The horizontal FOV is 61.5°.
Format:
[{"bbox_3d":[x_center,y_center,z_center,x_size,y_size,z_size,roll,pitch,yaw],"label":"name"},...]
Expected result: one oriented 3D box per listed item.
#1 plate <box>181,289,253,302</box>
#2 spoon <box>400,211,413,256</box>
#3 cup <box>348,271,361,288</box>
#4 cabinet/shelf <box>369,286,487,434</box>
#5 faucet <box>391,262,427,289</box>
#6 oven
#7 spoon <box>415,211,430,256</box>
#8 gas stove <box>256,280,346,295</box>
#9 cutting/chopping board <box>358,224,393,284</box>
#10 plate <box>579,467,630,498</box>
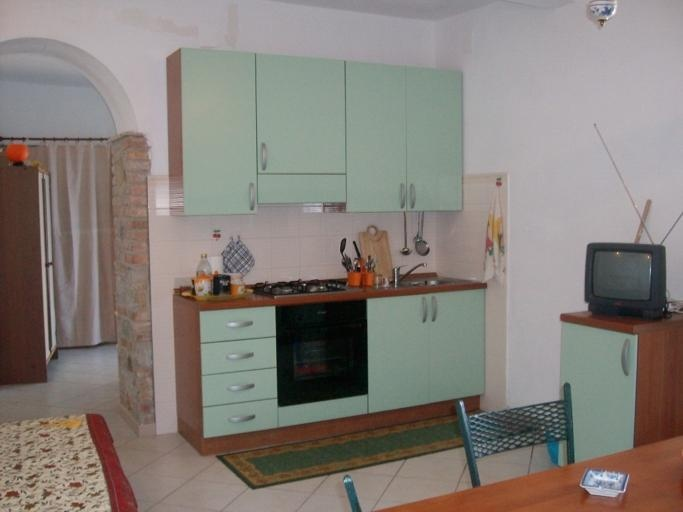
[{"bbox_3d":[-0.966,0.281,4.157,0.590,0.047,0.333,-1,7,3],"label":"plate"},{"bbox_3d":[0.554,-0.190,5.059,0.088,0.385,0.107,1,7,16],"label":"spoon"},{"bbox_3d":[0.092,0.192,4.574,0.113,0.110,0.114,1,4,0],"label":"cup"},{"bbox_3d":[0.602,0.770,4.376,1.055,0.926,0.402,-2,3,-22],"label":"cabinet/shelf"},{"bbox_3d":[0.560,0.152,4.834,0.282,0.159,0.666,0,7,6],"label":"faucet"},{"bbox_3d":[-0.165,0.711,4.358,0.669,0.747,0.500,-4,-5,-5],"label":"oven"},{"bbox_3d":[0.706,-0.197,5.105,0.135,0.385,0.066,-6,8,-26],"label":"spoon"},{"bbox_3d":[-0.319,0.242,4.402,0.734,0.043,0.522,-2,7,-11],"label":"gas stove"},{"bbox_3d":[0.278,-0.036,4.923,0.291,0.441,0.194,-2,7,-8],"label":"cutting/chopping board"},{"bbox_3d":[0.861,0.744,1.891,0.090,0.027,0.094,0,8,19],"label":"plate"}]
